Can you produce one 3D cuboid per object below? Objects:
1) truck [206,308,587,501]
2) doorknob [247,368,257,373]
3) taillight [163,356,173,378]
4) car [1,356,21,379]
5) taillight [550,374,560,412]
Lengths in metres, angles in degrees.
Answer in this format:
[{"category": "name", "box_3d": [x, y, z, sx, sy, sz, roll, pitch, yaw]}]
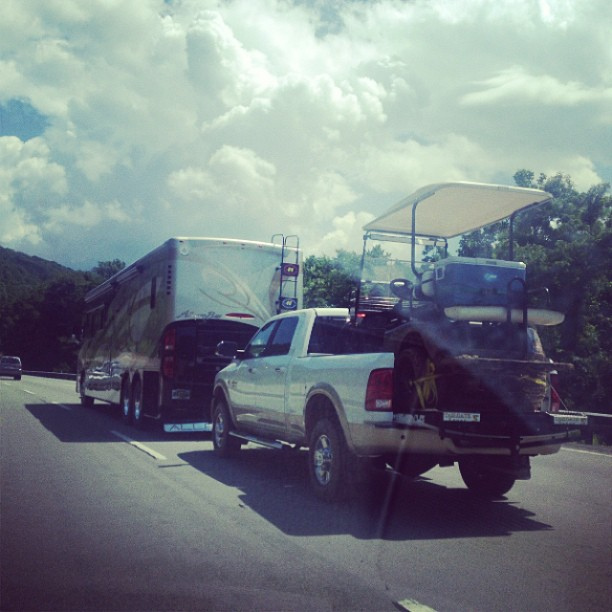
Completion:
[{"category": "truck", "box_3d": [0.440, 1.127, 8.607, 2.047, 1.972, 5.158, 5, -1, -25]}, {"category": "doorknob", "box_3d": [-0.719, 0.858, 9.388, 0.060, 0.051, 0.102, 3, 0, -14]}, {"category": "taillight", "box_3d": [-2.398, 1.075, 12.371, 0.156, 0.355, 0.075, 0, -6, 4]}, {"category": "car", "box_3d": [-20.968, 4.421, 50.338, 0.963, 1.280, 1.865, 1, 0, -25]}, {"category": "taillight", "box_3d": [2.628, 0.918, 7.496, 0.073, 0.416, 0.329, -1, -1, 23]}]
